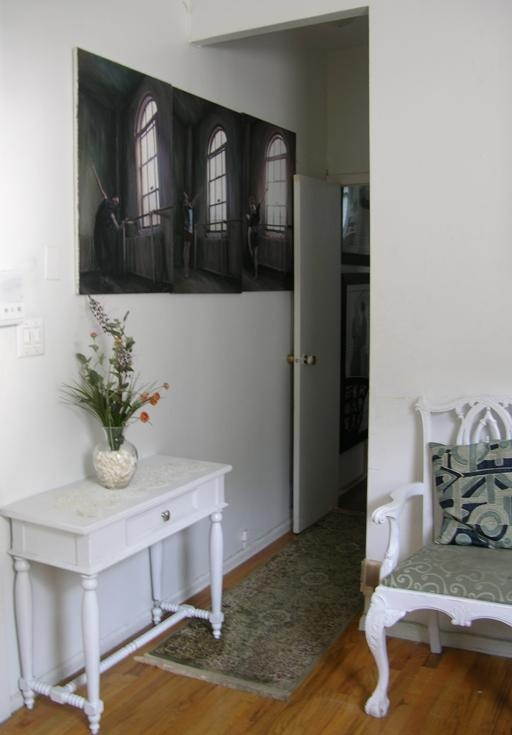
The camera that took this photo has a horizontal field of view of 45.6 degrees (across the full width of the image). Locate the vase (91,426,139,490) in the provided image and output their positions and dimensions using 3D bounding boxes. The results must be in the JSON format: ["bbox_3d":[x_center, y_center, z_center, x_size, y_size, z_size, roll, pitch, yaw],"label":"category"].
[{"bbox_3d":[-0.405,0.277,1.893,0.156,0.228,0.166,0,-2,8],"label":"vase"}]

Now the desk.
[{"bbox_3d":[-0.413,0.661,1.901,0.354,0.632,0.770,0,1,25],"label":"desk"}]
